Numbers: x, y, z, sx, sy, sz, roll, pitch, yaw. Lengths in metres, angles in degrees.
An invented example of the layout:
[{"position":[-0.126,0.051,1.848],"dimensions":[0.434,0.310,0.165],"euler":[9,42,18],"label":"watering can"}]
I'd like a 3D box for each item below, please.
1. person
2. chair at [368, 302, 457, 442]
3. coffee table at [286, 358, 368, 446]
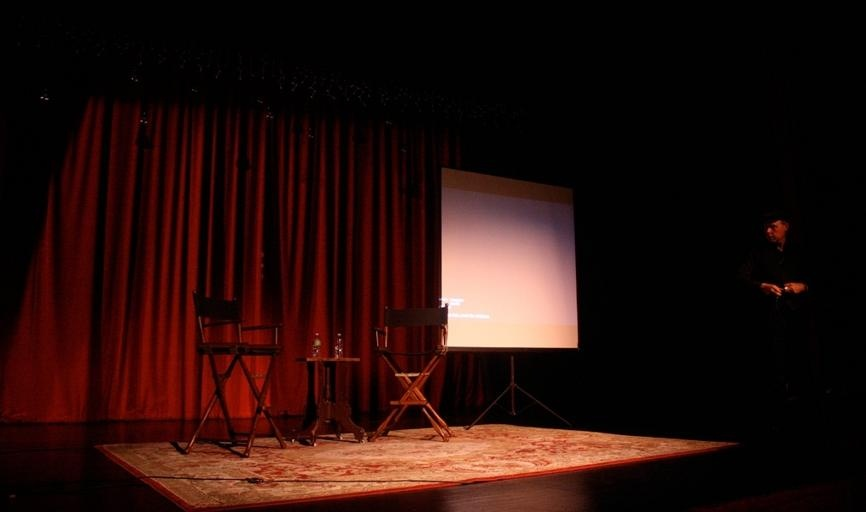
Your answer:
[{"position":[4.277,-0.016,8.264],"dimensions":[0.633,1.162,0.673],"euler":[-4,-10,38],"label":"person"},{"position":[-0.201,1.241,7.220],"dimensions":[1.013,1.335,0.839],"euler":[1,-4,-4],"label":"chair"},{"position":[-1.083,1.481,6.931],"dimensions":[0.863,0.787,0.863],"euler":[-6,-5,36],"label":"coffee table"}]
